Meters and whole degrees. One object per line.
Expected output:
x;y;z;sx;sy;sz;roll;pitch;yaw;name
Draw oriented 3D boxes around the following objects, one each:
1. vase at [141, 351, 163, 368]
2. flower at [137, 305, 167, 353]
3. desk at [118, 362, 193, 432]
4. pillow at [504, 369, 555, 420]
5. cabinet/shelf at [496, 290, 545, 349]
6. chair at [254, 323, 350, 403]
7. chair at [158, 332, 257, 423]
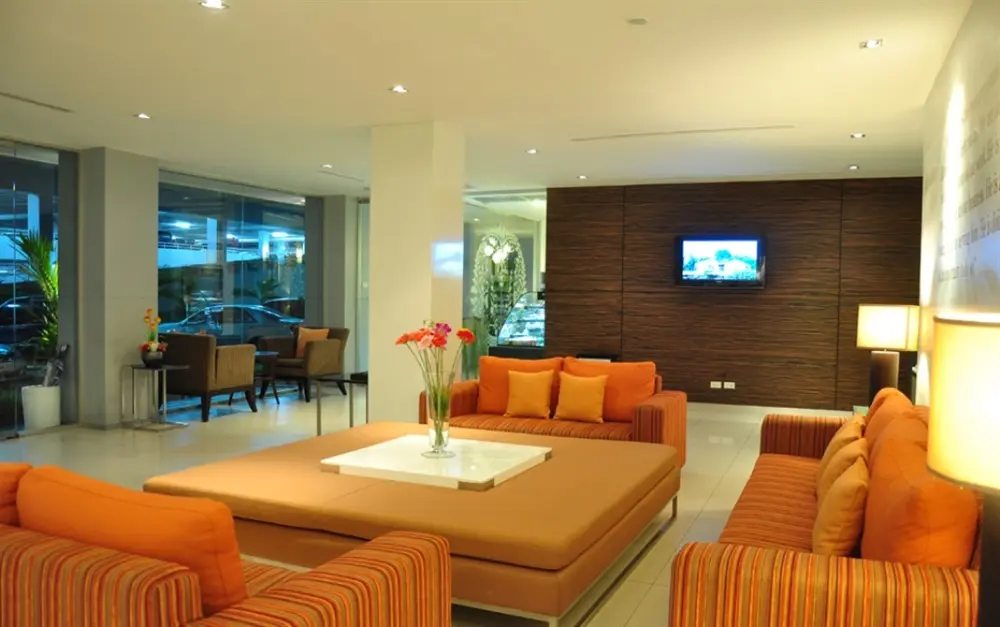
-4.255;0.561;8.092;0.223;0.143;0.222;-2;-2;31;vase
-4.417;0.197;8.390;0.270;0.535;0.725;-2;3;-29;flower
-4.472;1.028;8.309;0.888;0.987;0.750;1;0;12;desk
0.284;0.803;6.437;0.470;0.429;0.157;5;-37;10;pillow
0.304;0.125;10.262;1.002;0.865;0.527;0;0;22;cabinet/shelf
-3.036;0.708;10.270;1.179;0.897;1.122;1;4;9;chair
-3.734;0.806;9.044;1.120;1.262;1.198;2;3;31;chair
